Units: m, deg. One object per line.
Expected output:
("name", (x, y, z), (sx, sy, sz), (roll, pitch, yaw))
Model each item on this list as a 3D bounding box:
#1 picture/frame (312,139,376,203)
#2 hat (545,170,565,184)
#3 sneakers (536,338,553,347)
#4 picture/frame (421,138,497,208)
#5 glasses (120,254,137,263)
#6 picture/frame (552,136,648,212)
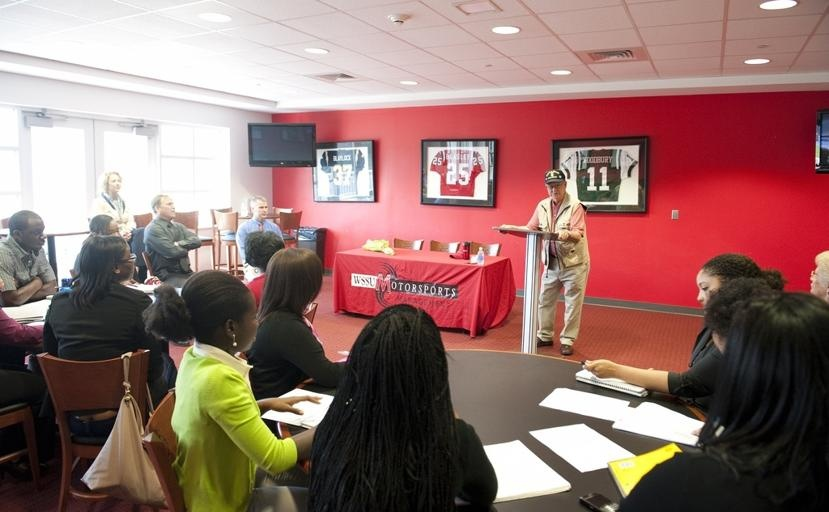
("picture/frame", (-1.184, -1.504, 9.195), (1.161, 0.910, 0.112), (5, 12, 26))
("hat", (1.484, -0.840, 5.672), (0.179, 0.141, 0.199), (1, 7, 4))
("sneakers", (1.472, 0.987, 6.090), (0.227, 0.094, 0.074), (3, 8, -1))
("picture/frame", (0.730, -1.330, 8.340), (1.156, 0.861, 0.040), (6, 13, 26))
("glasses", (-2.131, 0.015, 3.947), (0.096, 0.026, 0.091), (7, 11, 25))
("picture/frame", (2.578, -1.107, 7.250), (1.279, 0.932, 0.043), (5, 14, 27))
